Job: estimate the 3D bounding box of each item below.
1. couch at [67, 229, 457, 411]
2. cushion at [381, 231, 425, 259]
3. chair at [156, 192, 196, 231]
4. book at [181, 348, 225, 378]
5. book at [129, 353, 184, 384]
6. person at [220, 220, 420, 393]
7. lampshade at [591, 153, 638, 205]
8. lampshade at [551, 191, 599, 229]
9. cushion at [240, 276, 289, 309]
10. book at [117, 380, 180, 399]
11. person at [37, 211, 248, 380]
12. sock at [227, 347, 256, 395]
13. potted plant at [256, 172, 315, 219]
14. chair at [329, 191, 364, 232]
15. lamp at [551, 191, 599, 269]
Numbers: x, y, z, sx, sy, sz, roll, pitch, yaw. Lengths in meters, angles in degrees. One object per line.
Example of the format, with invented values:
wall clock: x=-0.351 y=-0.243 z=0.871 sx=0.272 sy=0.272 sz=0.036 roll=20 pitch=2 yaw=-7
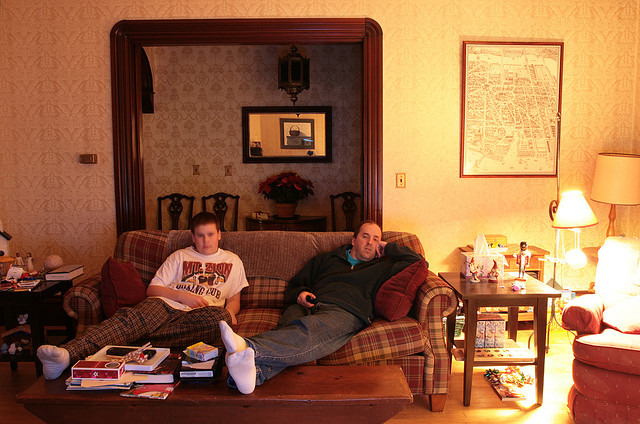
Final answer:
couch: x=-0.438 y=0.821 z=3.963 sx=2.944 sy=1.217 sz=1.001 roll=0 pitch=4 yaw=3
cushion: x=0.673 y=0.270 z=4.303 sx=0.345 sy=0.133 sz=0.346 roll=-2 pitch=-15 yaw=39
chair: x=-1.734 y=0.001 z=6.025 sx=0.448 sy=0.645 sz=0.453 roll=0 pitch=5 yaw=-6
book: x=-0.734 y=0.953 z=3.145 sx=0.238 sy=0.114 sz=0.185 roll=0 pitch=5 yaw=-1
book: x=-1.019 y=0.976 z=3.103 sx=0.304 sy=0.121 sz=0.184 roll=0 pitch=5 yaw=-7
person: x=-0.106 y=0.573 z=3.667 sx=1.596 sy=0.937 sz=0.782 roll=-4 pitch=6 yaw=-40
lampshade: x=2.602 y=-0.288 z=4.404 sx=0.417 sy=0.436 sz=0.410 roll=1 pitch=2 yaw=-14
lampshade: x=2.153 y=-0.002 z=4.290 sx=0.356 sy=0.242 sz=0.318 roll=-12 pitch=8 yaw=-32
cushion: x=-0.516 y=0.697 z=4.398 sx=0.417 sy=0.170 sz=0.744 roll=0 pitch=0 yaw=-6
book: x=-1.029 y=1.064 z=2.978 sx=0.311 sy=0.052 sz=0.121 roll=0 pitch=4 yaw=0
person: x=-1.090 y=0.606 z=3.514 sx=0.811 sy=0.862 sz=1.560 roll=18 pitch=14 yaw=22
sock: x=-0.459 y=0.930 z=2.953 sx=0.165 sy=0.275 sz=0.068 roll=-8 pitch=9 yaw=-20
potted plant: x=-0.423 y=-0.180 z=5.921 sx=0.594 sy=0.422 sz=0.576 roll=0 pitch=3 yaw=-3
chair: x=0.318 y=-0.004 z=5.935 sx=0.466 sy=0.669 sz=0.441 roll=0 pitch=1 yaw=0
lamp: x=2.234 y=0.168 z=4.413 sx=0.413 sy=0.690 sz=0.413 roll=-13 pitch=7 yaw=-34
